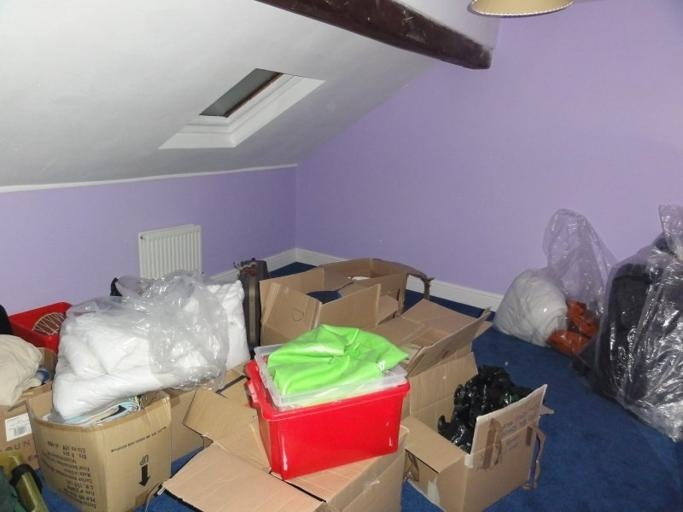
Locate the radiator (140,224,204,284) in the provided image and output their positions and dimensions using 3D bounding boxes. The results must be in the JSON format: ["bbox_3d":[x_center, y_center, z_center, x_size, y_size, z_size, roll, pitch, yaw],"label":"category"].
[{"bbox_3d":[-1.187,0.001,3.312,0.440,0.070,0.481,-6,48,-12],"label":"radiator"}]
